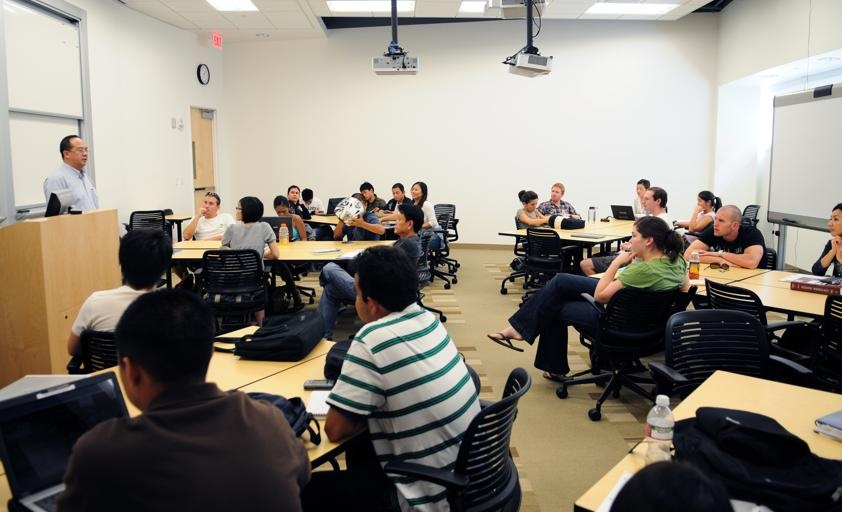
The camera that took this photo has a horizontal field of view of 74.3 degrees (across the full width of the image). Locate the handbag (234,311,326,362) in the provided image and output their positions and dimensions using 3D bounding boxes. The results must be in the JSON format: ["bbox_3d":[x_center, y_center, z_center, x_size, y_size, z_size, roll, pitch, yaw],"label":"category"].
[{"bbox_3d":[-0.959,0.562,3.825,0.372,0.131,0.371,-1,15,10],"label":"handbag"}]

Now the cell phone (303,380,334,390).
[{"bbox_3d":[-0.639,0.807,3.511,0.112,0.026,0.082,1,4,-1],"label":"cell phone"}]

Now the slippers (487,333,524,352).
[{"bbox_3d":[0.842,0.857,5.568,0.403,0.091,0.172,25,-5,27],"label":"slippers"}]

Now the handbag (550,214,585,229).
[{"bbox_3d":[2.116,-0.506,8.245,0.315,0.112,0.322,6,9,39],"label":"handbag"}]

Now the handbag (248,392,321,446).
[{"bbox_3d":[-0.773,0.913,3.179,0.390,0.268,0.230,-2,11,-12],"label":"handbag"}]

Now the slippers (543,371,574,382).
[{"bbox_3d":[1.311,1.152,5.305,0.283,0.083,0.105,4,9,35],"label":"slippers"}]

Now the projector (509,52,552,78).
[{"bbox_3d":[1.417,-2.455,7.109,0.506,0.226,0.349,0,10,-3],"label":"projector"}]

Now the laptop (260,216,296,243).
[{"bbox_3d":[-1.879,-0.431,7.447,0.474,0.311,0.328,1,7,-12],"label":"laptop"}]
